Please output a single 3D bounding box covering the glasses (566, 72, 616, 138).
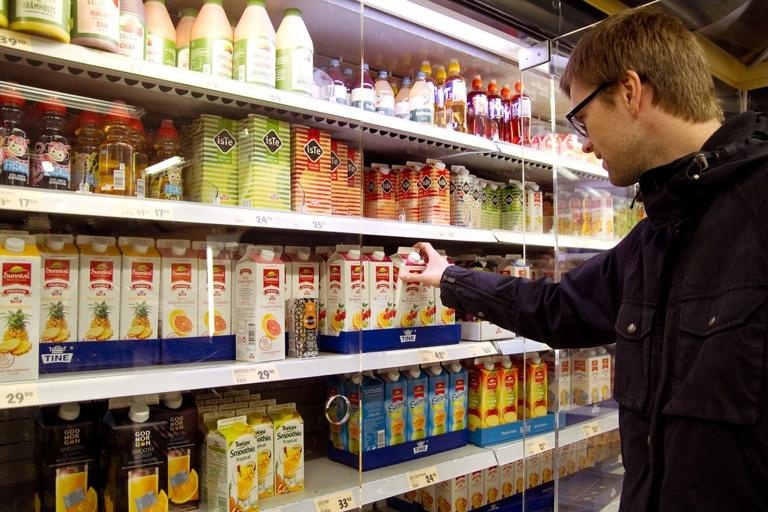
[{"bbox_3d":[0.657,-0.494,1.768,0.038,0.133,0.135,40,18,16],"label":"glasses"}]
